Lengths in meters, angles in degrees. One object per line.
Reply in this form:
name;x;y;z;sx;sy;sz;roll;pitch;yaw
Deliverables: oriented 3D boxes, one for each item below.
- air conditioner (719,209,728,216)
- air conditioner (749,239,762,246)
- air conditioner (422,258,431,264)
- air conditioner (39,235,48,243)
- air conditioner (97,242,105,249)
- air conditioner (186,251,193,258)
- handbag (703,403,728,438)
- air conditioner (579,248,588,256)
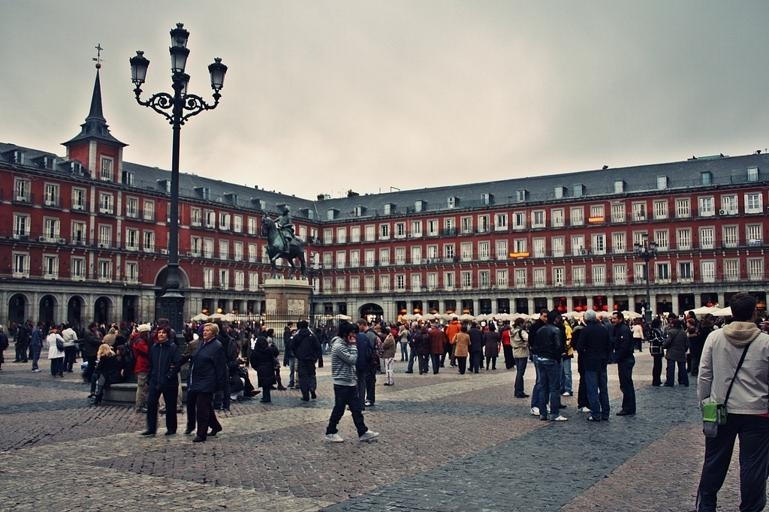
air conditioner;24.717;-3.209;69.455;0.691;0.615;0.358;-4;-6;26
air conditioner;26.553;-0.984;68.113;0.680;0.432;0.366;-3;-6;38
air conditioner;3.667;0.414;82.507;0.576;0.534;0.535;-1;-12;5
air conditioner;-23.111;-1.200;64.044;0.548;0.362;0.357;4;-12;-41
air conditioner;-20.306;-0.795;68.172;0.287;0.367;0.968;-3;-8;16
air conditioner;-15.452;-0.180;74.935;0.469;0.794;0.449;0;-17;-8
handbag;6.074;3.017;17.399;0.352;0.642;0.556;6;-11;-22
air conditioner;15.663;-0.411;75.007;0.253;0.722;0.853;7;-11;-44
